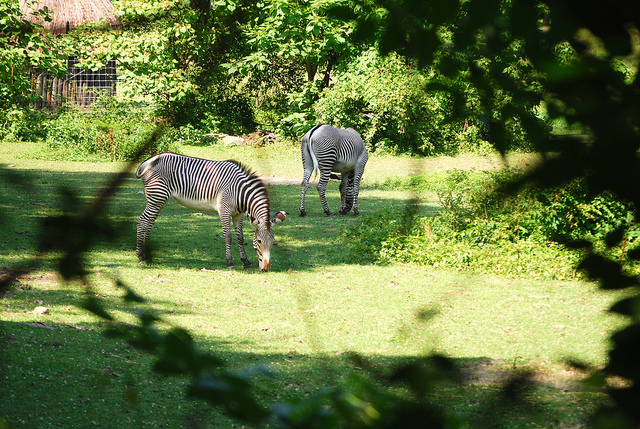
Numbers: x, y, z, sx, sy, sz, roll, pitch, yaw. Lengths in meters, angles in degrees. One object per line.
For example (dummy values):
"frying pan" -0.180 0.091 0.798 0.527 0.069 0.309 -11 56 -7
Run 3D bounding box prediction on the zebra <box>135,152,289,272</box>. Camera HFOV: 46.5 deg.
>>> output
"zebra" -1.364 -0.057 9.412 2.342 1.327 0.663 11 14 33

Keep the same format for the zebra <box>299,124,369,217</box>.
"zebra" 0.245 -0.835 13.383 1.149 1.567 1.403 2 9 2
